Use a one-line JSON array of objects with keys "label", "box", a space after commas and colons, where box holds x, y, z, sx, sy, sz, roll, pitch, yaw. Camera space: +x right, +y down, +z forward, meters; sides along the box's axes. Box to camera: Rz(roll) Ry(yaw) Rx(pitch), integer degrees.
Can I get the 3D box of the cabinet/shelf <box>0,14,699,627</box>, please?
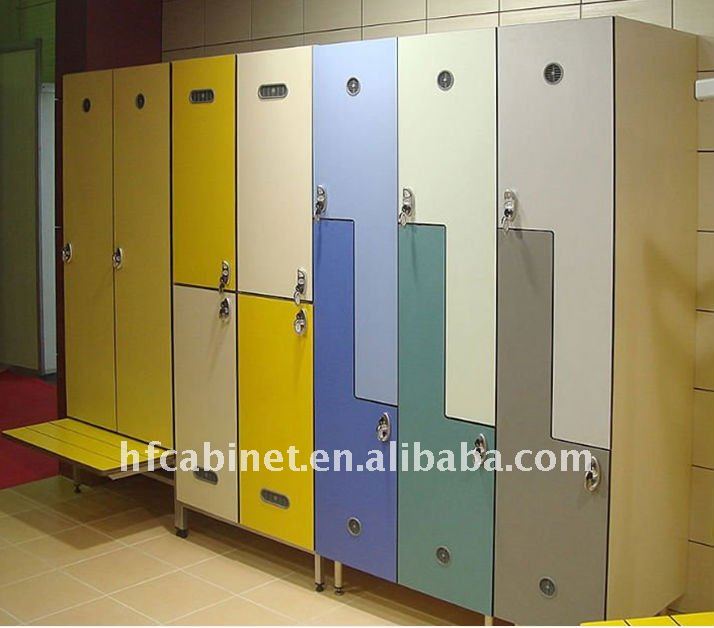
[{"label": "cabinet/shelf", "box": [-0.014, 0.069, 2.907, 2.222, 1.954, 0.721, 7, 7, 35]}]
